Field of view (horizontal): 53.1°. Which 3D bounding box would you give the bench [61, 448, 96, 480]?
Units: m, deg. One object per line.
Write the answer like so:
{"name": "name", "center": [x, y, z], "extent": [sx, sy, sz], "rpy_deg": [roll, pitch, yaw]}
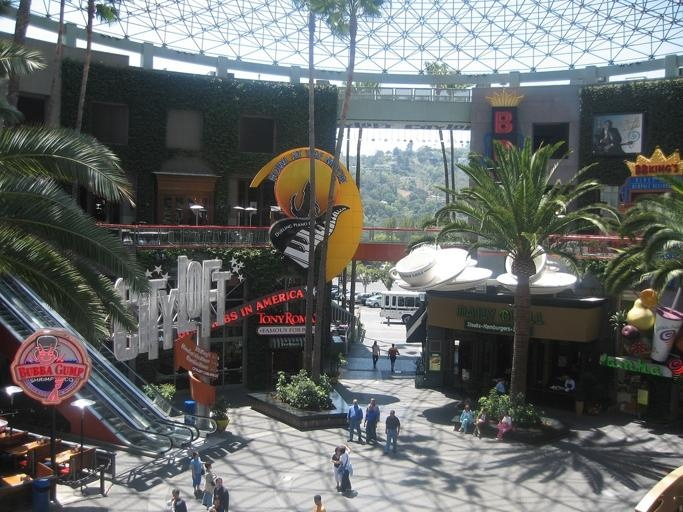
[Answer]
{"name": "bench", "center": [-9.899, 7.675, 25.810], "extent": [0.968, 1.301, 1.316], "rpy_deg": [-3, -4, 36]}

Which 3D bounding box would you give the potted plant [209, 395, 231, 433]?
{"name": "potted plant", "center": [-5.695, 7.450, 32.195], "extent": [0.817, 1.476, 1.155], "rpy_deg": [0, 5, -11]}
